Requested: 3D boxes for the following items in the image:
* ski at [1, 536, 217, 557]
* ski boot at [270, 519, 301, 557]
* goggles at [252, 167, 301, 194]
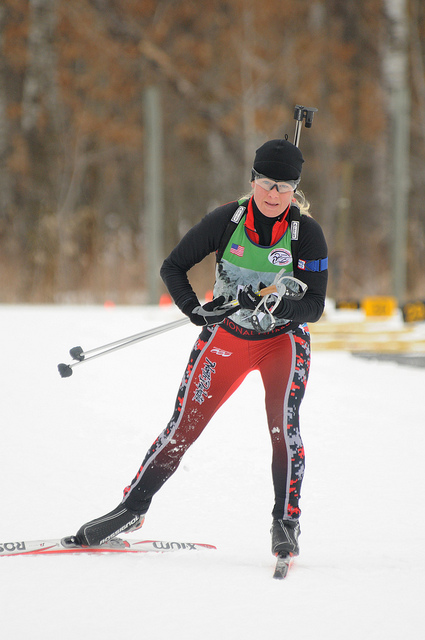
[{"bbox_3d":[-0.415,0.850,3.029,0.820,0.041,0.078,1,52,-4],"label":"ski"},{"bbox_3d":[0.264,0.789,2.917,0.101,0.102,0.135,-1,58,0],"label":"ski boot"},{"bbox_3d":[0.223,-0.494,2.877,0.169,0.105,0.106,4,58,3],"label":"goggles"}]
